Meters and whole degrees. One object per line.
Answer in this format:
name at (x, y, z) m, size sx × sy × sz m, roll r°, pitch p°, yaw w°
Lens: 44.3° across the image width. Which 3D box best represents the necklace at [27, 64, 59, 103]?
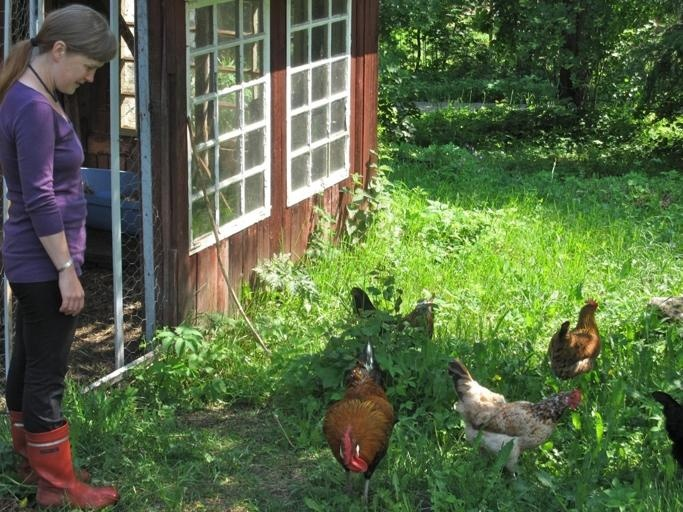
necklace at (-1.814, -1.059, 5.188) m, size 0.147 × 0.219 × 0.213 m, roll 13°, pitch 16°, yaw 33°
